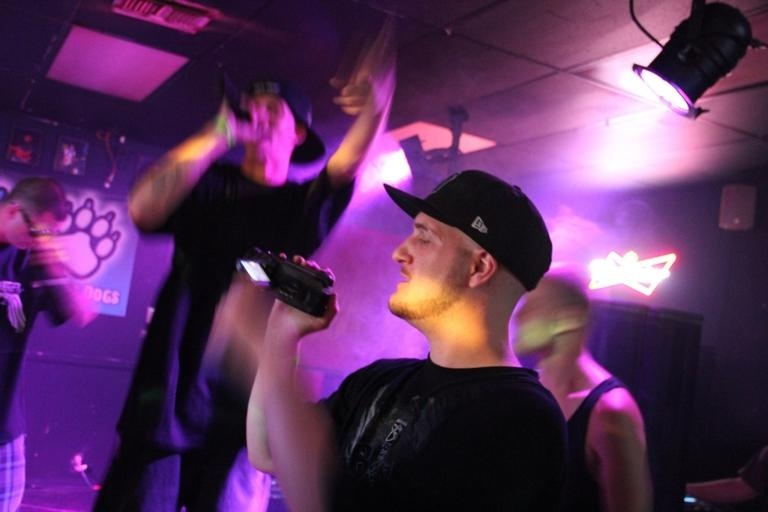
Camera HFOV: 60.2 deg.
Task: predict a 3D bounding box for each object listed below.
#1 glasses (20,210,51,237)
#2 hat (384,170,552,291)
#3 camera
[{"bbox_3d":[-1.565,-0.136,3.004,0.091,0.124,0.045,-6,21,28],"label":"glasses"},{"bbox_3d":[0.342,-0.111,2.667,0.623,0.320,0.402,34,8,-1],"label":"hat"},{"bbox_3d":[-0.370,0.093,2.582,0.335,0.204,0.143,22,20,12],"label":"camera"}]
